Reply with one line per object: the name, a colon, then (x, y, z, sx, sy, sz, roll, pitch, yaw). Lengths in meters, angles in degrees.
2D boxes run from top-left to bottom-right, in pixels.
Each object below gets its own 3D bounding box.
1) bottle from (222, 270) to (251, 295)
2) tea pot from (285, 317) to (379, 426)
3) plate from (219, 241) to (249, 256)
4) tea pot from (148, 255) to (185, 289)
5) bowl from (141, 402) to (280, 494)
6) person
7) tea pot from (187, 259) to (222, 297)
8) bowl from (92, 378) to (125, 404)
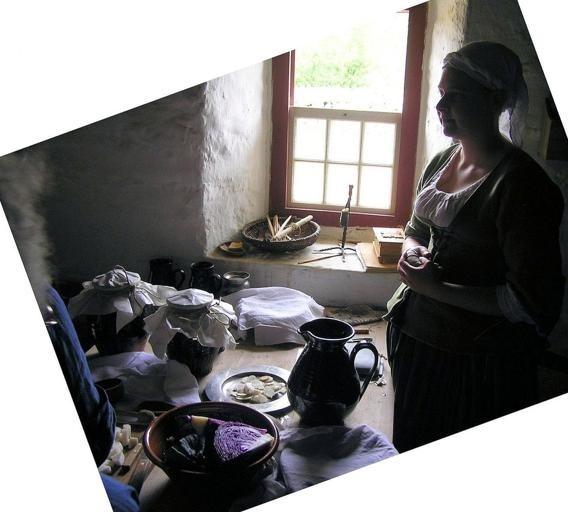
bottle: (-0.120, 0.062, 1.238, 0.060, 0.055, 0.058, 3, 17, 13)
tea pot: (0.106, 0.276, 1.316, 0.276, 0.289, 0.226, 3, 8, 2)
plate: (-0.127, -0.019, 1.224, 0.048, 0.018, 0.045, 10, 30, -6)
tea pot: (-0.303, 0.039, 1.248, 0.100, 0.089, 0.061, 4, 16, -14)
bowl: (-0.173, 0.484, 1.229, 0.327, 0.117, 0.313, 1, 4, 0)
person: (0.496, 0.005, 1.236, 0.457, 1.043, 0.114, -5, 14, -15)
tea pot: (-0.203, 0.052, 1.295, 0.106, 0.100, 0.065, 10, 17, 1)
bowl: (-0.453, 0.341, 1.271, 0.063, 0.043, 0.070, 0, 4, -16)
